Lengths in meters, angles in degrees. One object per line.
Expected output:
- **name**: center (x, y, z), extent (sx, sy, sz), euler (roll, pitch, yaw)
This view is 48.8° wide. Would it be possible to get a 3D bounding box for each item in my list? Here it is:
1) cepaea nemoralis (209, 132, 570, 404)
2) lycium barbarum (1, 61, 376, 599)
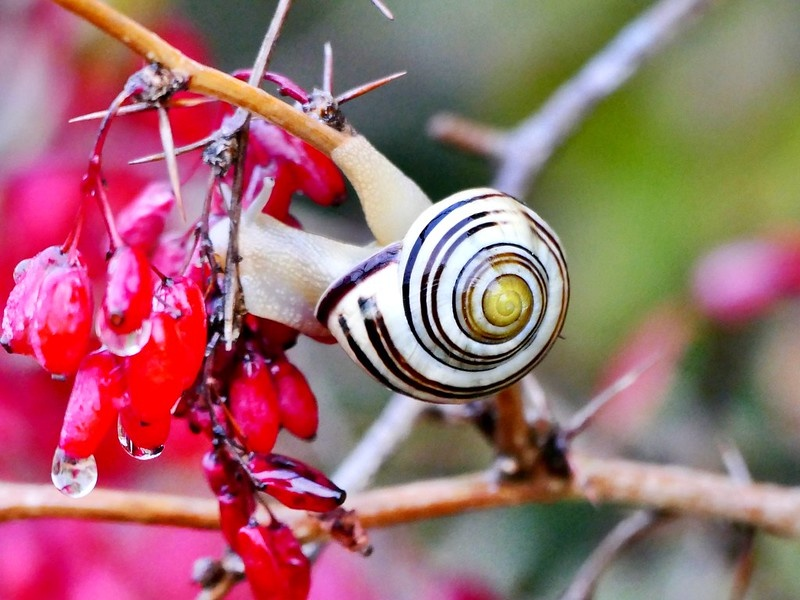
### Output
- **cepaea nemoralis**: center (0.005, -0.035, 0.797), extent (0.252, 0.215, 0.256), euler (-2, 14, 12)
- **lycium barbarum**: center (-0.165, 0.037, 0.660), extent (0.237, 0.428, 0.194), euler (-14, 23, -39)
